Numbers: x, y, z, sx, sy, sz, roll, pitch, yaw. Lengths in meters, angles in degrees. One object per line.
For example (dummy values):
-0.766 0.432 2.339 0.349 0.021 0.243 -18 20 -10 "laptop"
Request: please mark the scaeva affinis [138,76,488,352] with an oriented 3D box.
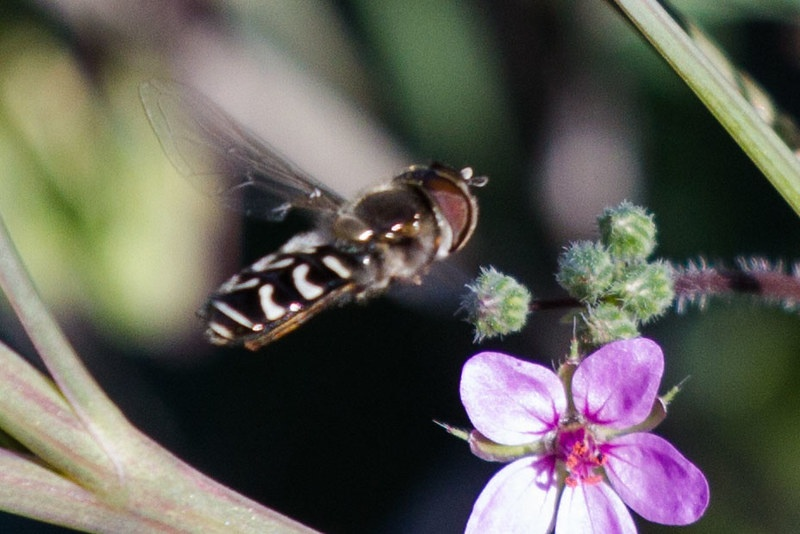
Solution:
-0.136 -0.134 1.500 0.491 0.427 0.289 -13 12 -16 "scaeva affinis"
